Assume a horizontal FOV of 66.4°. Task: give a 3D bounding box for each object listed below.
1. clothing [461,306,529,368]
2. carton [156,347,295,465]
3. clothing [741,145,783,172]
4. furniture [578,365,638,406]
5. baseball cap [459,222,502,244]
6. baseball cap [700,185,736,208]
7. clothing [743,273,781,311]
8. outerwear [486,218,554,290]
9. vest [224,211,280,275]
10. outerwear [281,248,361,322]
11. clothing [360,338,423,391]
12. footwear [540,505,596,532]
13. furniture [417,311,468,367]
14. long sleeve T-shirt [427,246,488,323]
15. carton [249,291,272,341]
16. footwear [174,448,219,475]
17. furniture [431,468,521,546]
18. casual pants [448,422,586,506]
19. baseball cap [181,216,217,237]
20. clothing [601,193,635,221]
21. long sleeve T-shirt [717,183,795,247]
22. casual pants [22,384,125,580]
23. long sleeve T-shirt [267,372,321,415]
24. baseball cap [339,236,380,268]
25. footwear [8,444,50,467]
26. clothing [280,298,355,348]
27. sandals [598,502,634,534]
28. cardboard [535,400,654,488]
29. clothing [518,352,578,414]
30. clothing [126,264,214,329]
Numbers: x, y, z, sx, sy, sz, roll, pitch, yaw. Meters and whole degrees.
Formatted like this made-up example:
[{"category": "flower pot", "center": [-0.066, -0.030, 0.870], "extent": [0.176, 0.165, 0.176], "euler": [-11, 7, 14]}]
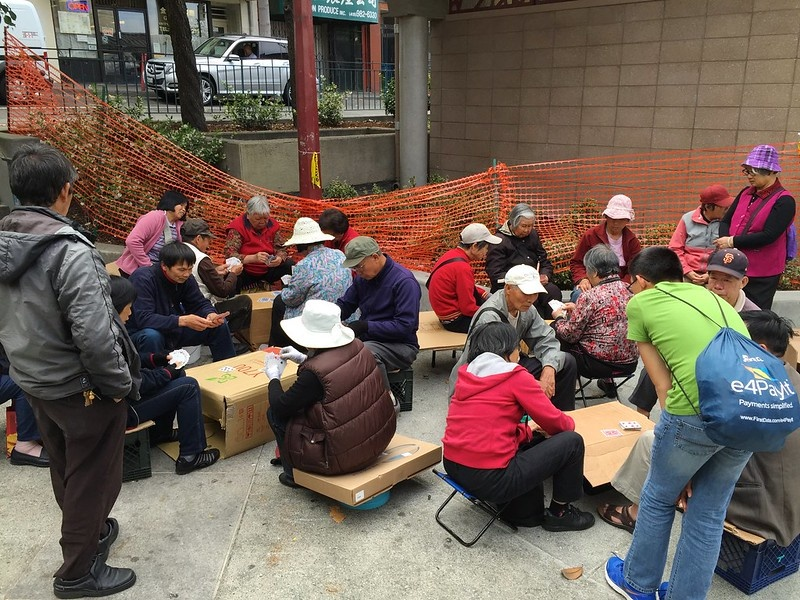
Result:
[{"category": "clothing", "center": [0.708, 0.204, 4.892], "extent": [0.362, 0.760, 0.531], "euler": [-2, 1, 0]}, {"category": "carton", "center": [-1.417, 0.733, 5.148], "extent": [0.723, 0.527, 0.976], "euler": [27, 35, 30]}, {"category": "clothing", "center": [3.540, -1.343, 5.903], "extent": [0.290, 0.179, 0.269], "euler": [-7, 21, -35]}, {"category": "furniture", "center": [1.950, 0.803, 5.772], "extent": [0.330, 0.483, 0.352], "euler": [-3, 14, -12]}, {"category": "baseball cap", "center": [0.777, -0.618, 5.906], "extent": [0.329, 0.179, 0.216], "euler": [1, 22, -10]}, {"category": "baseball cap", "center": [3.381, -1.106, 6.509], "extent": [0.290, 0.181, 0.224], "euler": [2, 27, 20]}, {"category": "clothing", "center": [3.510, -0.095, 5.959], "extent": [0.351, 0.501, 0.141], "euler": [-1, -1, -3]}, {"category": "outerwear", "center": [1.299, -0.526, 7.036], "extent": [0.710, 0.843, 0.747], "euler": [-14, 23, -27]}, {"category": "vest", "center": [-1.756, -0.665, 7.314], "extent": [0.653, 0.710, 0.384], "euler": [-7, 19, -37]}, {"category": "outerwear", "center": [-0.768, -0.235, 5.945], "extent": [0.596, 0.748, 0.746], "euler": [-10, 18, -43]}, {"category": "clothing", "center": [-0.058, 0.553, 5.420], "extent": [0.397, 0.259, 0.408], "euler": [0, 7, -14]}, {"category": "footwear", "center": [1.166, 1.520, 4.349], "extent": [0.395, 0.191, 0.159], "euler": [-3, 9, -2]}, {"category": "furniture", "center": [0.421, 0.487, 6.161], "extent": [0.457, 0.168, 0.699], "euler": [-6, 24, -17]}, {"category": "long sleeve T-shirt", "center": [0.581, -0.233, 6.250], "extent": [0.653, 0.757, 0.579], "euler": [-13, 28, -26]}, {"category": "carton", "center": [-1.525, 0.189, 6.697], "extent": [0.254, 0.346, 0.361], "euler": [-2, 29, -10]}, {"category": "footwear", "center": [-1.584, 1.256, 4.829], "extent": [0.321, 0.155, 0.137], "euler": [-21, 30, -38]}, {"category": "furniture", "center": [0.474, 1.461, 4.261], "extent": [0.532, 0.355, 0.423], "euler": [29, -6, -25]}, {"category": "casual pants", "center": [0.846, 1.037, 4.078], "extent": [0.594, 0.336, 0.631], "euler": [-7, 2, -9]}, {"category": "baseball cap", "center": [-2.129, -0.785, 6.501], "extent": [0.188, 0.147, 0.271], "euler": [16, 16, 42]}, {"category": "clothing", "center": [2.364, -1.006, 6.597], "extent": [0.230, 0.178, 0.313], "euler": [7, 9, 13]}, {"category": "long sleeve T-shirt", "center": [3.505, -0.821, 6.016], "extent": [0.373, 0.543, 0.505], "euler": [6, 17, -13]}, {"category": "casual pants", "center": [-1.912, 1.078, 3.741], "extent": [0.527, 1.125, 0.396], "euler": [-7, 19, -17]}, {"category": "long sleeve T-shirt", "center": [-0.717, 0.637, 4.175], "extent": [0.239, 0.304, 0.240], "euler": [28, 22, 5]}, {"category": "baseball cap", "center": [-0.355, -0.447, 5.308], "extent": [0.302, 0.161, 0.219], "euler": [-31, 29, -24]}, {"category": "footwear", "center": [-2.911, 1.216, 4.817], "extent": [0.353, 0.144, 0.135], "euler": [0, -4, -6]}, {"category": "clothing", "center": [-0.575, 0.086, 4.191], "extent": [0.365, 0.151, 0.369], "euler": [-5, 22, -39]}, {"category": "sandals", "center": [1.537, 1.526, 4.358], "extent": [0.235, 0.101, 0.128], "euler": [15, 19, 30]}, {"category": "cardboard", "center": [1.575, 1.042, 4.734], "extent": [0.529, 0.136, 0.507], "euler": [-16, 33, -20]}, {"category": "clothing", "center": [1.371, 0.689, 5.244], "extent": [0.483, 0.501, 0.169], "euler": [13, 16, 28]}, {"category": "clothing", "center": [-2.100, -0.021, 5.501], "extent": [0.628, 0.575, 0.504], "euler": [19, 13, 26]}]
